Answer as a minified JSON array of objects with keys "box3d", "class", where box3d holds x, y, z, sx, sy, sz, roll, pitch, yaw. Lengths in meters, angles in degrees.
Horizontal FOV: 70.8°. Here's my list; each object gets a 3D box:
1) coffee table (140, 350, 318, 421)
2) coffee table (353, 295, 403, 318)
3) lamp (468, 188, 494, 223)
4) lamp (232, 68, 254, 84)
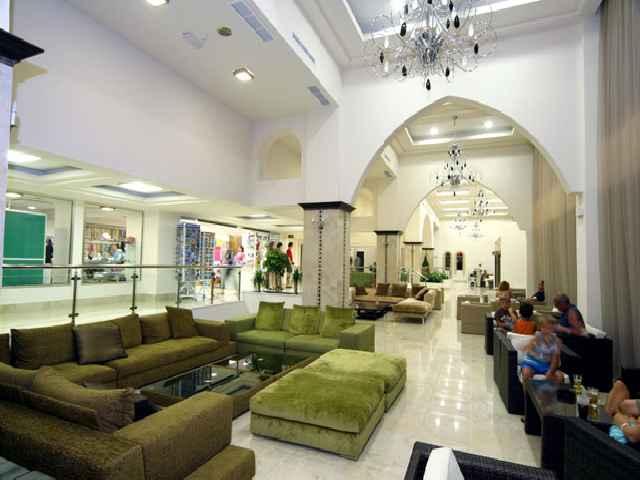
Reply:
[{"box3d":[-1.180,1.919,6.220,0.940,0.190,1.686,-2,-1,29],"class":"coffee table"},{"box3d":[1.786,2.068,13.842,1.364,0.533,2.691,-1,-2,8],"class":"coffee table"},{"box3d":[8.064,-1.779,22.503,1.093,1.956,1.143,2,7,16],"class":"lamp"},{"box3d":[-1.561,-3.296,9.123,0.419,0.183,0.748,0,-2,-10],"class":"lamp"}]
